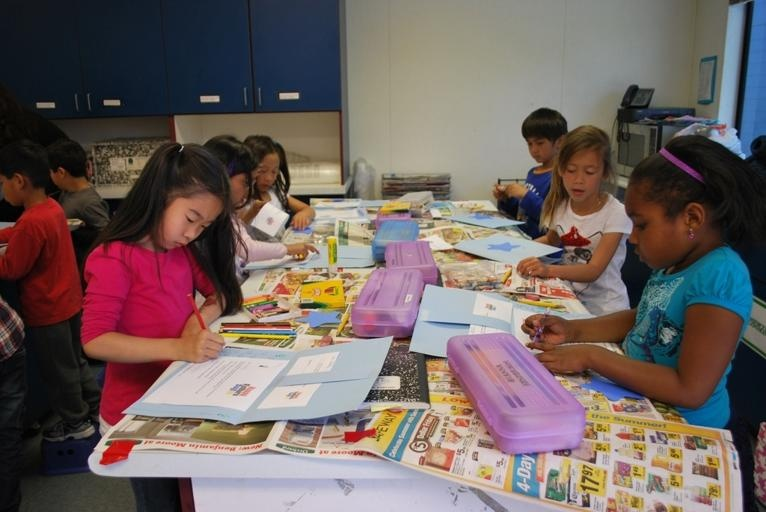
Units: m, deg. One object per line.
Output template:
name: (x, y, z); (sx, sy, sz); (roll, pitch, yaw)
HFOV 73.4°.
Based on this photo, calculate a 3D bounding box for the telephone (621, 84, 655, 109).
telephone: (1.896, -1.216, 3.860); (0.221, 0.162, 0.342); (3, 20, 24)

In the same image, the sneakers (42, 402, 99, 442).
sneakers: (-1.415, 0.793, 2.410); (0.315, 0.145, 0.124); (5, 15, -18)

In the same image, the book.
book: (0.038, 0.331, 1.368); (0.167, 0.030, 0.226); (-4, 22, 7)

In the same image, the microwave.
microwave: (1.836, -0.769, 3.583); (0.242, 0.328, 0.339); (-18, 13, -22)
